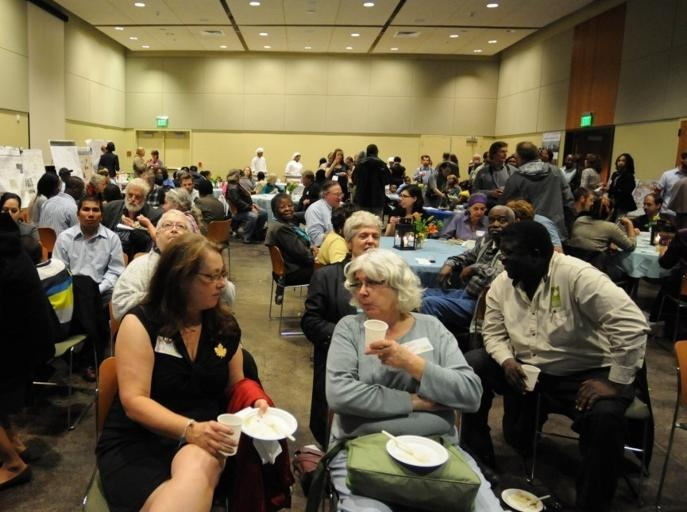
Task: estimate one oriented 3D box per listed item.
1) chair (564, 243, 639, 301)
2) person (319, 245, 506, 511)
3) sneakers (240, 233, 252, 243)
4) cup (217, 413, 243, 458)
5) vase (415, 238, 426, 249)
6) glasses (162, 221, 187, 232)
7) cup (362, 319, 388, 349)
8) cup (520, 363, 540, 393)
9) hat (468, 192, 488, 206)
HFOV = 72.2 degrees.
[{"bbox_3d":[2.090,0.079,3.773,0.335,0.473,0.309,-23,38,-7],"label":"chair"},{"bbox_3d":[0.172,0.547,2.416,0.875,1.344,1.089,0,-11,-12],"label":"person"},{"bbox_3d":[-2.095,-0.378,10.194,0.130,0.197,0.279,-2,3,-41],"label":"sneakers"},{"bbox_3d":[-0.453,0.708,1.878,0.085,0.163,0.073,12,15,37],"label":"cup"},{"bbox_3d":[0.798,-0.146,4.902,0.096,0.115,0.104,0,3,-1],"label":"vase"},{"bbox_3d":[-1.162,-0.205,3.230,0.093,0.040,0.103,-1,-9,-9],"label":"glasses"},{"bbox_3d":[0.145,0.317,1.984,0.109,0.116,0.109,2,1,0],"label":"cup"},{"bbox_3d":[0.990,0.649,2.555,0.133,0.143,0.132,-1,-3,0],"label":"cup"},{"bbox_3d":[1.517,-0.633,5.233,0.193,0.210,0.221,2,2,-1],"label":"hat"}]
